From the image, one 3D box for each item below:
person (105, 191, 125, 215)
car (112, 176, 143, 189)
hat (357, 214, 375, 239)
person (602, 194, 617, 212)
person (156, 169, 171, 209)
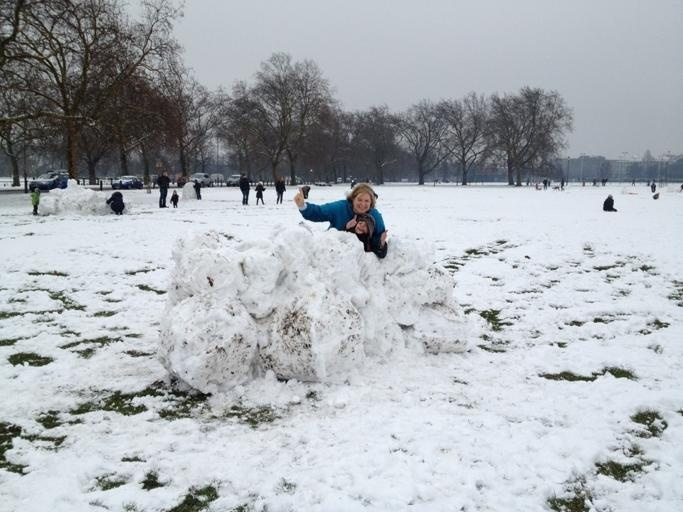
[{"bbox_3d":[-7.526,-1.758,20.739,0.494,0.722,0.709,-9,16,-37],"label":"person"},{"bbox_3d":[-16.461,-5.562,47.283,1.261,1.089,2.922,-1,3,0],"label":"car"},{"bbox_3d":[0.353,-0.420,8.251,0.184,0.281,0.268,3,2,13],"label":"hat"},{"bbox_3d":[9.731,-1.927,22.409,0.453,0.616,0.829,7,15,25],"label":"person"},{"bbox_3d":[-7.506,-2.811,26.160,0.378,1.556,1.796,-3,14,-16],"label":"person"}]
